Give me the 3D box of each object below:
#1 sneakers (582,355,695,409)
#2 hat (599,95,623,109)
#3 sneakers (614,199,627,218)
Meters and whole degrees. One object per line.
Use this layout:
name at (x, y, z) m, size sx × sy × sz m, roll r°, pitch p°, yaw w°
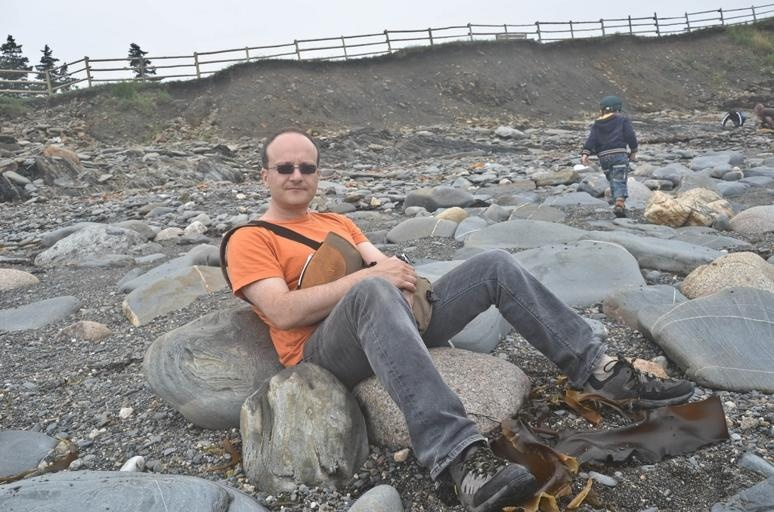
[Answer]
sneakers at (1.458, 0.729, 3.037) m, size 0.688 × 0.257 × 0.240 m, roll -3°, pitch 6°, yaw 7°
hat at (3.435, -2.348, 7.901) m, size 0.265 × 0.221 × 0.309 m, roll 1°, pitch 20°, yaw 9°
sneakers at (3.007, -0.639, 6.694) m, size 0.144 × 0.166 × 0.395 m, roll -7°, pitch 19°, yaw 28°
